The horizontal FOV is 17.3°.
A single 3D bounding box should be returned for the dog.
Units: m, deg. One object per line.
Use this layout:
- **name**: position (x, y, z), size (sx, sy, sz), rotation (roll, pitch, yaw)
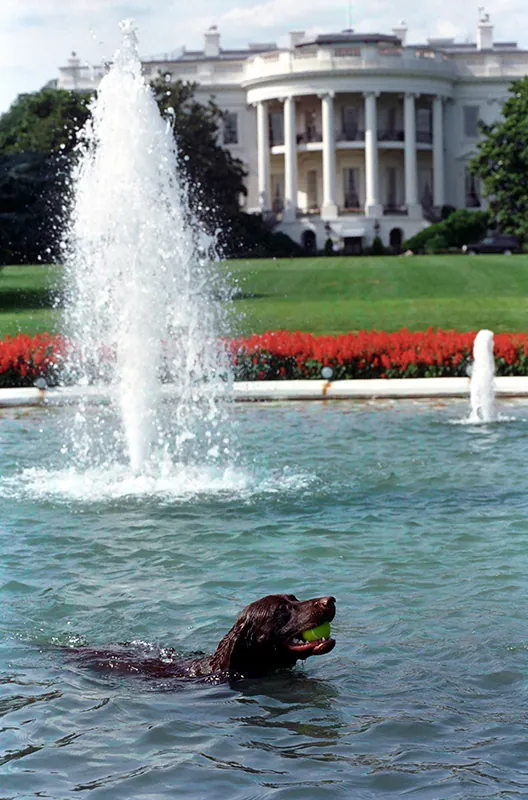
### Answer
- **dog**: position (-0.287, 1.294, 9.711), size (1.630, 0.601, 0.425), rotation (4, 11, 32)
